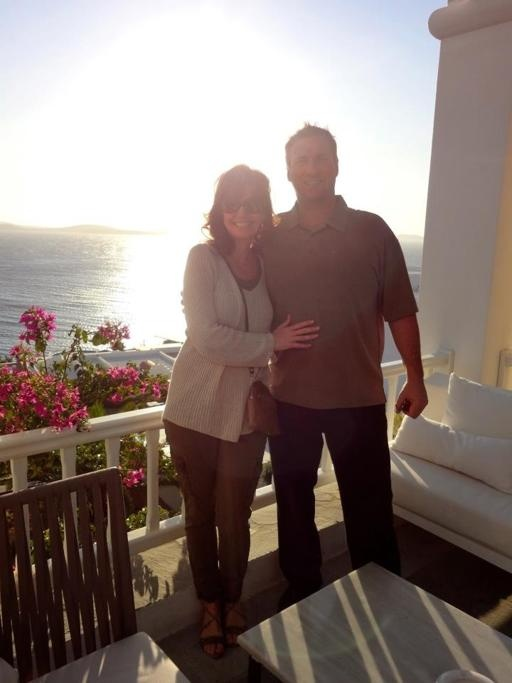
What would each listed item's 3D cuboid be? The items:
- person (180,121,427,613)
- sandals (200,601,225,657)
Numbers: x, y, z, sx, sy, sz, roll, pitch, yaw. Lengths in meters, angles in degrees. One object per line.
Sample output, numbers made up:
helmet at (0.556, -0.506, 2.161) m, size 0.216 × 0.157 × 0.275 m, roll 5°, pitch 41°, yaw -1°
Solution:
person at (0.190, 0.121, 1.603) m, size 0.648 × 1.717 × 0.491 m, roll -1°, pitch 9°, yaw 9°
sandals at (-0.152, 0.976, 1.627) m, size 0.073 × 0.096 × 0.227 m, roll 4°, pitch -3°, yaw -8°
